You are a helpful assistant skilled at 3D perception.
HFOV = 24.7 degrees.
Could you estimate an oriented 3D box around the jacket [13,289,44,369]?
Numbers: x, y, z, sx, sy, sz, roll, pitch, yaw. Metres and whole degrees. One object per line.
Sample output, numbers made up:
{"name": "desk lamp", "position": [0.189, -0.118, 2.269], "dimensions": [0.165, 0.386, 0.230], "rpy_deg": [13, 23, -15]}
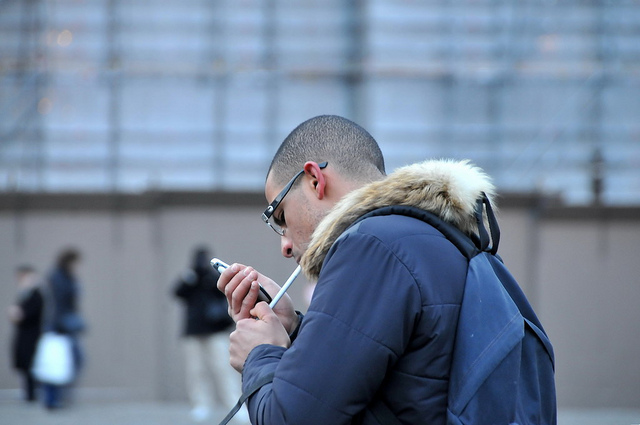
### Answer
{"name": "jacket", "position": [-2.110, 0.867, 10.554], "dimensions": [0.192, 0.517, 0.120], "rpy_deg": [4, -8, -15]}

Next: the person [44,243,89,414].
{"name": "person", "position": [-1.857, 0.797, 10.654], "dimensions": [0.233, 1.273, 0.270], "rpy_deg": [-4, 6, -35]}
